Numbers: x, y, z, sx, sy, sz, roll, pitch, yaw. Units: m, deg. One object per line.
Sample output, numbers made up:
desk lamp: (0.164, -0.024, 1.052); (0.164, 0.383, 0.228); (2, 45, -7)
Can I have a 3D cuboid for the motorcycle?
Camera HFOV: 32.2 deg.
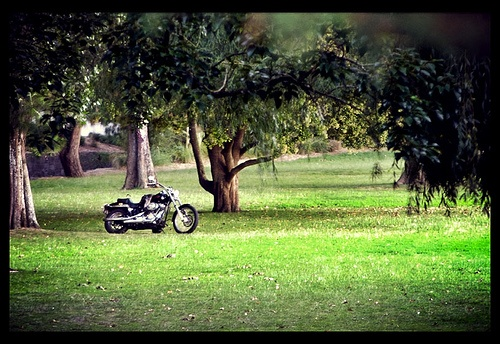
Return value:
motorcycle: (-2.474, 0.919, 21.380); (2.457, 1.393, 1.218); (-1, 4, 2)
